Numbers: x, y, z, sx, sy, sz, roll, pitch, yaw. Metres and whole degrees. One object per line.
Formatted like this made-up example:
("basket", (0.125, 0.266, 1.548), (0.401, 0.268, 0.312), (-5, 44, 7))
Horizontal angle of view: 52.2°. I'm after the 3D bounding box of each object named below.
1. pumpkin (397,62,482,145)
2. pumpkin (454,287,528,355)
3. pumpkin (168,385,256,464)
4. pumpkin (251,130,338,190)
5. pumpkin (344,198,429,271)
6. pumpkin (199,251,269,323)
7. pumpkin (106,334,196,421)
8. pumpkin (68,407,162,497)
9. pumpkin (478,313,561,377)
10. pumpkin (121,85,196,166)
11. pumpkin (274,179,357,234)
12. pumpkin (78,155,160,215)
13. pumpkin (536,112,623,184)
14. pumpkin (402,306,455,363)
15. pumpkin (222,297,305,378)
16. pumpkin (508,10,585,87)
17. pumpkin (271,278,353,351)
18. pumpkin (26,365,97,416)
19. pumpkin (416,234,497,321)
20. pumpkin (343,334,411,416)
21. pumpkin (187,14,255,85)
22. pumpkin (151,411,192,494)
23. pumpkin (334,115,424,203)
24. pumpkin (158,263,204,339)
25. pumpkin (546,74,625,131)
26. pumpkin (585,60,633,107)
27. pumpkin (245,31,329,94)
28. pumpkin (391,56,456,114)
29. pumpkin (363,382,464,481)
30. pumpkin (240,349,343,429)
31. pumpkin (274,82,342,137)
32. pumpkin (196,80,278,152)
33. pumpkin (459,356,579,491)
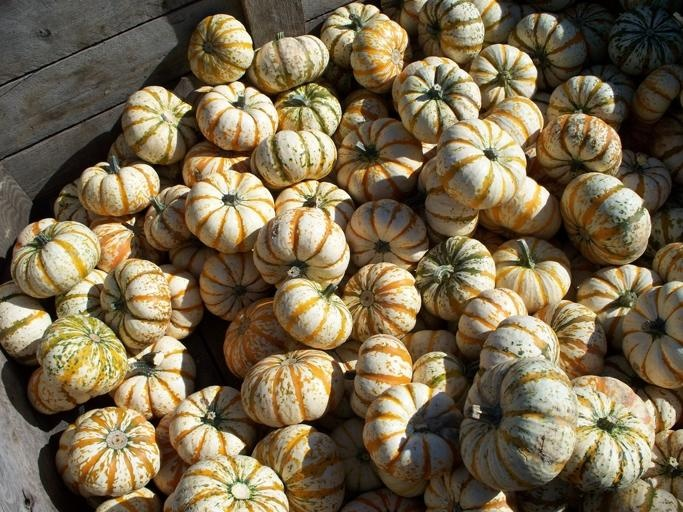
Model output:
("pumpkin", (0.755, -1.142, 5.451), (0.588, 0.372, 0.646), (-9, 75, -1))
("pumpkin", (1.002, 0.439, 4.796), (0.389, 0.433, 0.446), (-3, 70, 1))
("pumpkin", (-0.865, 1.123, 4.637), (0.454, 0.282, 0.481), (-20, 44, -24))
("pumpkin", (-0.338, -0.727, 5.178), (0.475, 0.458, 0.321), (-11, 79, -6))
("pumpkin", (0.337, -0.156, 5.077), (0.493, 0.301, 0.558), (9, 102, 0))
("pumpkin", (-0.822, 0.192, 5.165), (0.433, 0.261, 0.475), (24, 102, -23))
("pumpkin", (-1.262, 0.897, 5.075), (0.531, 0.536, 0.568), (10, 73, 21))
("pumpkin", (-1.511, 1.286, 4.603), (0.561, 0.226, 0.581), (-4, 70, -1))
("pumpkin", (1.099, 0.599, 4.372), (0.329, 0.375, 0.386), (-3, 60, -6))
("pumpkin", (-1.523, -0.989, 5.652), (0.566, 0.325, 0.600), (-41, 99, -22))
("pumpkin", (-0.176, -0.431, 5.246), (0.419, 0.258, 0.441), (30, 44, 18))
("pumpkin", (-1.692, -0.504, 5.333), (0.472, 0.384, 0.492), (2, 26, 10))
("pumpkin", (1.736, -0.800, 5.135), (0.547, 0.400, 0.431), (-2, 70, 0))
("pumpkin", (0.611, 0.553, 4.952), (0.341, 0.357, 0.346), (18, 43, 4))
("pumpkin", (-0.623, 0.567, 5.101), (0.531, 0.533, 0.508), (-35, 84, -1))
("pumpkin", (1.766, -1.787, 5.941), (0.573, 0.575, 0.587), (-42, 111, -52))
("pumpkin", (-0.165, 0.391, 4.825), (0.484, 0.477, 0.381), (41, 91, 12))
("pumpkin", (-1.994, 0.957, 4.829), (0.334, 0.174, 0.366), (11, 97, 2))
("pumpkin", (0.834, 0.163, 5.125), (0.548, 0.533, 0.596), (10, 84, 37))
("pumpkin", (0.268, 0.774, 4.632), (0.246, 0.478, 0.478), (14, 59, -20))
("pumpkin", (-0.965, -1.656, 5.575), (0.541, 0.360, 0.437), (-24, 71, -8))
("pumpkin", (-1.196, 1.369, 4.859), (0.416, 0.421, 0.460), (0, 82, -17))
("pumpkin", (0.282, -0.716, 5.291), (0.618, 0.331, 0.669), (-12, 77, 23))
("pumpkin", (-1.174, 0.329, 5.165), (0.188, 0.443, 0.473), (-9, 86, 27))
("pumpkin", (1.911, -1.178, 5.512), (0.442, 0.464, 0.489), (-1, 101, 7))
("pumpkin", (2.118, -1.342, 5.621), (0.329, 0.342, 0.361), (1, 54, 6))
("pumpkin", (-0.458, -1.651, 5.602), (0.485, 0.496, 0.369), (-33, 103, -12))
("pumpkin", (0.627, -1.443, 5.626), (0.433, 0.411, 0.455), (31, 100, -9))
("pumpkin", (0.428, 1.088, 4.321), (0.581, 0.311, 0.577), (9, 70, 4))
("pumpkin", (-0.325, 0.869, 4.523), (0.525, 0.517, 0.304), (-18, 105, -2))
("pumpkin", (-0.289, -1.189, 5.601), (0.424, 0.330, 0.434), (-33, 33, -15))
("pumpkin", (-0.815, -1.138, 5.398), (0.521, 0.419, 0.573), (8, 55, -6))
("pumpkin", (1.015, 0.969, 4.033), (0.599, 0.439, 0.744), (14, 71, 6))
